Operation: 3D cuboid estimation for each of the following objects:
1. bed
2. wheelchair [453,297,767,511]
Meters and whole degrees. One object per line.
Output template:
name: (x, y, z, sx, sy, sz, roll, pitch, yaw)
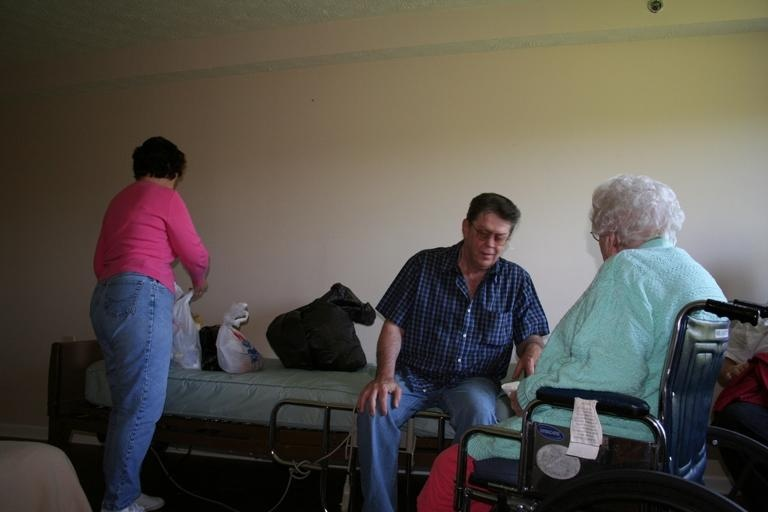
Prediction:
bed: (-1.027, 1.033, 4.165, 2.206, 0.876, 1.254, 2, -4, 13)
wheelchair: (1.008, 0.711, 2.893, 1.205, 1.149, 0.850, 2, -8, 22)
